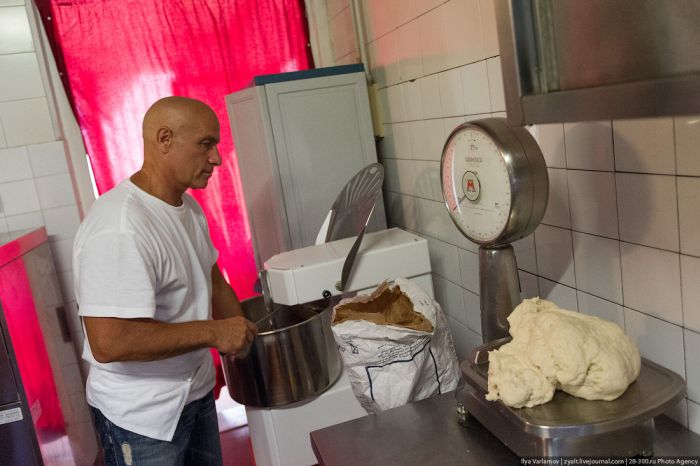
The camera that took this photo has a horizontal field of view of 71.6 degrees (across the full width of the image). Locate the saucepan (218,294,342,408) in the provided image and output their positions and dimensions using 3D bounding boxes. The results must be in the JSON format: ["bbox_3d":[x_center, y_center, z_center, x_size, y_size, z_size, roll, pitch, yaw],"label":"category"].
[{"bbox_3d":[-0.387,0.508,2.212,0.508,0.343,0.537,-18,8,-42],"label":"saucepan"}]

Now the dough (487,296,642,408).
[{"bbox_3d":[0.566,0.310,1.267,0.416,0.222,0.235,-4,12,15],"label":"dough"}]
